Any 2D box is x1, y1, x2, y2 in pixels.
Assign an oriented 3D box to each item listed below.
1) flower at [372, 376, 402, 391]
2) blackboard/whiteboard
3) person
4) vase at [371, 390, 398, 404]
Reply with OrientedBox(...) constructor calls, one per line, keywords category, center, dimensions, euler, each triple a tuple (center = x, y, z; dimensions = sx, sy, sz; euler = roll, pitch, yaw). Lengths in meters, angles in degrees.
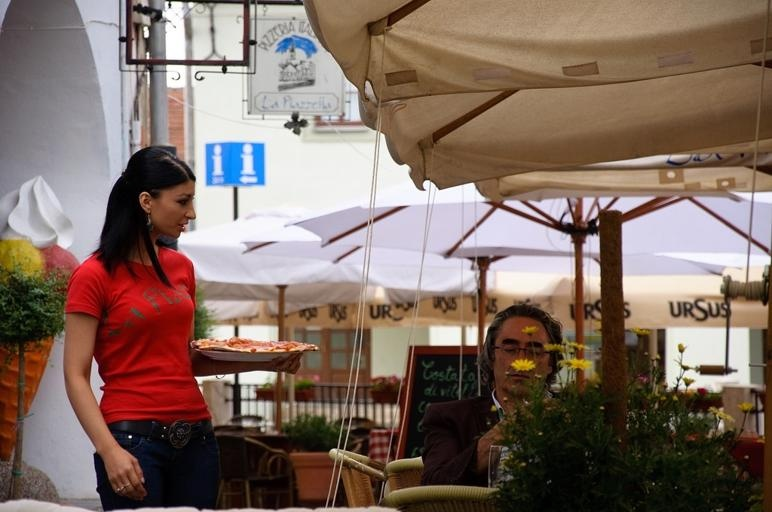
OrientedBox(category="flower", center=(-0.011, 1.366, 13.647), dimensions=(0.258, 0.132, 0.253), euler=(2, -2, -32))
OrientedBox(category="blackboard/whiteboard", center=(0.386, 1.308, 11.172), dimensions=(1.012, 1.381, 0.914), euler=(0, -18, -4))
OrientedBox(category="person", center=(-1.435, 0.415, 7.491), dimensions=(0.906, 2.145, 0.232), euler=(2, -6, -9))
OrientedBox(category="vase", center=(-0.005, 1.494, 13.434), dimensions=(0.295, 0.125, 0.210), euler=(-1, -4, 15))
